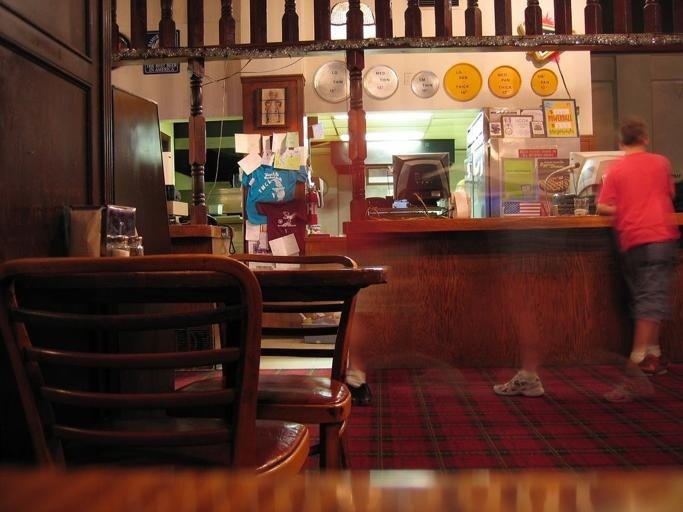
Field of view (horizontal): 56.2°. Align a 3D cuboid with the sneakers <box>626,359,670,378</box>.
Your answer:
[{"bbox_3d":[1.806,0.644,3.760,0.195,0.085,0.107,-6,-3,-2],"label":"sneakers"}]

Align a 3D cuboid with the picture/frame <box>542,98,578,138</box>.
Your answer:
[{"bbox_3d":[2.320,-1.434,6.786,0.473,0.582,0.047,2,-33,-1],"label":"picture/frame"}]

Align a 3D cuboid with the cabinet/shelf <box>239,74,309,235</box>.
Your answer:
[{"bbox_3d":[-0.620,-0.980,6.356,1.050,1.406,0.411,-1,-2,3],"label":"cabinet/shelf"}]

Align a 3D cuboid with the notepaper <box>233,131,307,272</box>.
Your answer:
[{"bbox_3d":[-0.670,-0.478,6.023,0.624,1.295,0.299,5,4,-3],"label":"notepaper"}]

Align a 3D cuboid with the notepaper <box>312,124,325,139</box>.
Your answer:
[{"bbox_3d":[-0.197,-1.109,5.717,0.079,0.139,0.269,-3,5,-6],"label":"notepaper"}]

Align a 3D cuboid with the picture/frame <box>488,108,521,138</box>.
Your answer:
[{"bbox_3d":[1.628,-1.365,6.594,0.320,0.299,0.075,-2,-5,-5],"label":"picture/frame"}]

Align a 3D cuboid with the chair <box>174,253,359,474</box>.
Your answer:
[{"bbox_3d":[-0.194,0.354,2.104,0.434,0.710,0.434,4,5,5],"label":"chair"}]

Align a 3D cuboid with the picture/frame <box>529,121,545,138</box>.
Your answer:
[{"bbox_3d":[2.039,-1.307,6.678,0.181,0.206,0.028,0,-14,0],"label":"picture/frame"}]

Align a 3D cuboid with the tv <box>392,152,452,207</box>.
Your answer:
[{"bbox_3d":[0.613,-0.568,4.866,0.416,0.397,0.171,-2,4,3],"label":"tv"}]

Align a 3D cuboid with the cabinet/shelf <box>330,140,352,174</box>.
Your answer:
[{"bbox_3d":[-0.072,-1.255,8.271,0.256,0.318,0.457,-2,-4,-18],"label":"cabinet/shelf"}]

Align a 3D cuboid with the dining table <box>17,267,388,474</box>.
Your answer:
[{"bbox_3d":[-0.502,0.252,1.927,0.804,0.796,0.736,4,4,8],"label":"dining table"}]

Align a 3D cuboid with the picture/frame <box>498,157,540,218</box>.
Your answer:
[{"bbox_3d":[1.789,-0.683,6.395,0.366,0.643,0.036,2,34,20],"label":"picture/frame"}]

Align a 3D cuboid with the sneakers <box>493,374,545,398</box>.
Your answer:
[{"bbox_3d":[0.949,0.690,3.452,0.267,0.122,0.111,0,-5,5],"label":"sneakers"}]

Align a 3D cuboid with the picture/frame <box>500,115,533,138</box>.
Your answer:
[{"bbox_3d":[1.811,-1.328,6.653,0.241,0.170,0.033,0,-17,-5],"label":"picture/frame"}]

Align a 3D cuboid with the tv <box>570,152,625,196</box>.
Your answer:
[{"bbox_3d":[1.682,-0.560,4.268,0.301,0.315,0.288,-1,-1,2],"label":"tv"}]
